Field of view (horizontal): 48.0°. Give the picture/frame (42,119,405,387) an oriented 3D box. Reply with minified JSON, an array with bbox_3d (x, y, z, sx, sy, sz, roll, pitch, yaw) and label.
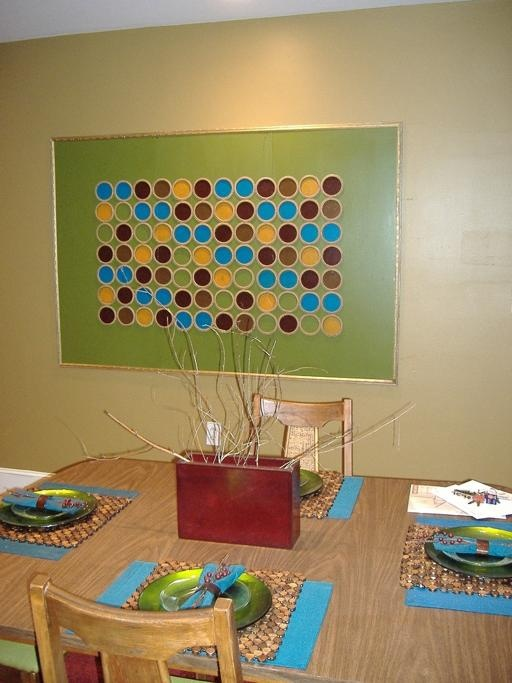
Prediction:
[{"bbox_3d":[-0.098,-0.461,2.797,1.493,0.951,0.026,2,9,15],"label":"picture/frame"}]

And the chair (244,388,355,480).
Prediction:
[{"bbox_3d":[0.180,0.289,2.012,0.308,0.494,0.313,-1,-3,19],"label":"chair"}]
